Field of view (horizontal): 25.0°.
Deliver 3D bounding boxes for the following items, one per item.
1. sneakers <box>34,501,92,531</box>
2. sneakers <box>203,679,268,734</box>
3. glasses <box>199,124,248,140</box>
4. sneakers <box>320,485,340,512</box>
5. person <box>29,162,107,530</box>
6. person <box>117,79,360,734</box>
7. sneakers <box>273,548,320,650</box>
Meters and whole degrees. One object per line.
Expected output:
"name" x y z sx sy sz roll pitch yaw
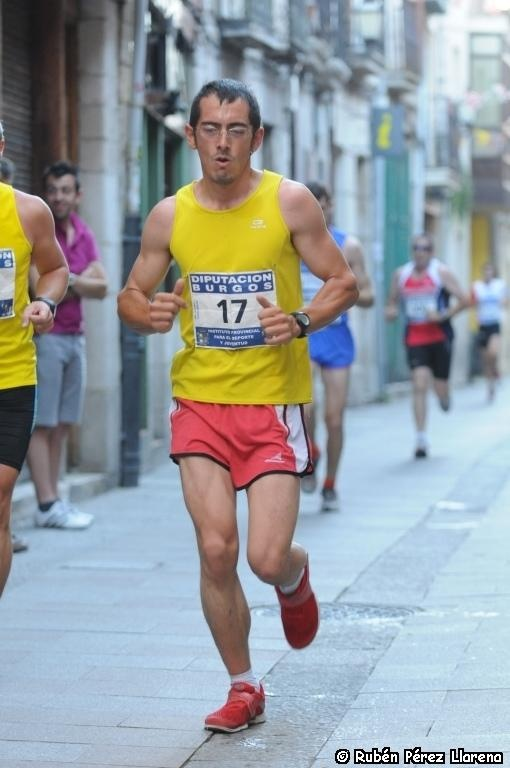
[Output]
"sneakers" -1.149 0.763 6.773 0.285 0.136 0.160 2 0 3
"sneakers" -0.049 0.823 2.965 0.088 0.116 0.239 -4 -5 30
"glasses" -0.081 -0.639 2.911 0.108 0.037 0.040 0 6 -5
"sneakers" 0.471 0.726 7.344 0.133 0.193 0.409 -1 -3 1
"person" -1.142 -0.260 6.818 0.592 2.106 0.562 2 -2 9
"person" -0.064 0.045 3.019 0.643 1.665 0.449 1 6 5
"sneakers" 0.130 0.646 3.429 0.107 0.312 0.123 -4 7 32
